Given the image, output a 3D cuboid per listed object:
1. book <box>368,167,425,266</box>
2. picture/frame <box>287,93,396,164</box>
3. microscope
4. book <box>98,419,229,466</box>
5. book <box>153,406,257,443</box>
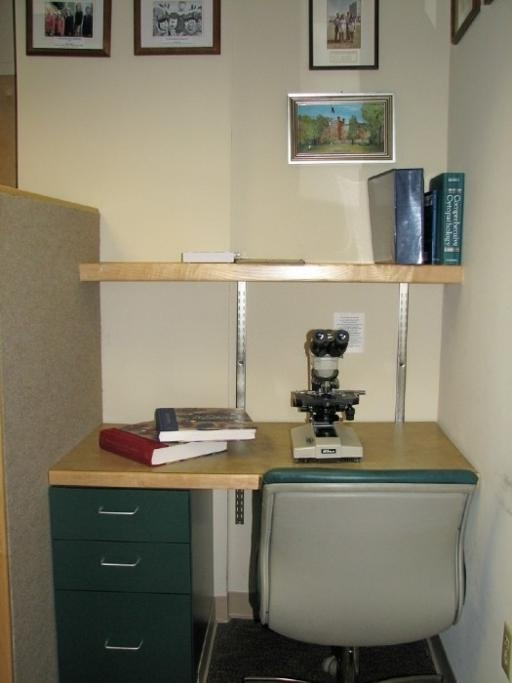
[{"bbox_3d":[0.405,-0.353,1.751,0.140,0.261,0.269,0,7,4],"label":"book"},{"bbox_3d":[0.262,-0.652,1.855,0.317,0.203,0.018,0,7,4],"label":"picture/frame"},{"bbox_3d":[0.175,0.136,1.671,0.189,0.366,0.210,2,10,-4],"label":"microscope"},{"bbox_3d":[-0.269,0.252,1.698,0.295,0.088,0.327,2,5,17],"label":"book"},{"bbox_3d":[-0.139,0.192,1.748,0.339,0.082,0.329,1,10,-8],"label":"book"}]
